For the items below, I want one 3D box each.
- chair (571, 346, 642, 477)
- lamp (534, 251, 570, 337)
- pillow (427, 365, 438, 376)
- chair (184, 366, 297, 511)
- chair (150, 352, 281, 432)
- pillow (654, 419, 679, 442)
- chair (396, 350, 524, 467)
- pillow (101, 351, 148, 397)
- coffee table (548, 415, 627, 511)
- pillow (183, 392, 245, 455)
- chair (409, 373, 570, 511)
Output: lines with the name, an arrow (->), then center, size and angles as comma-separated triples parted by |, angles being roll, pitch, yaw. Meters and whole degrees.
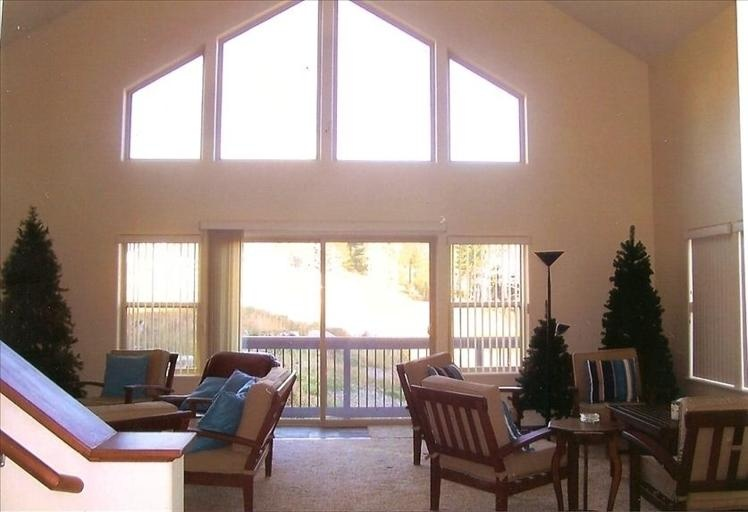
chair -> 2.842, 1.822, 7.879 | 0.918, 1.234, 0.820 | -4, -7, 22
lamp -> 2.231, 0.442, 8.369 | 0.389, 1.077, 1.078 | 2, 8, 13
pillow -> 0.644, 1.297, 7.285 | 0.132, 0.152, 0.082 | 5, -41, -4
chair -> -1.218, 1.758, 6.777 | 1.130, 1.205, 1.417 | 0, -9, 4
chair -> -1.771, 1.559, 7.936 | 0.812, 1.119, 1.214 | 2, -25, 18
pillow -> 2.803, 1.597, 6.306 | 0.156, 0.328, 0.297 | 4, 7, 19
chair -> 1.106, 1.702, 7.393 | 1.119, 1.429, 1.362 | 4, -7, -38
pillow -> -3.043, 1.473, 8.115 | 0.477, 0.490, 0.176 | -1, -21, -2
coffee table -> 2.181, 2.057, 6.636 | 0.824, 0.857, 0.847 | 0, -10, -2
pillow -> -1.499, 1.602, 6.274 | 0.558, 0.575, 0.258 | -2, 8, -15
chair -> 1.169, 1.847, 6.642 | 1.443, 1.333, 1.176 | 6, -7, -43
